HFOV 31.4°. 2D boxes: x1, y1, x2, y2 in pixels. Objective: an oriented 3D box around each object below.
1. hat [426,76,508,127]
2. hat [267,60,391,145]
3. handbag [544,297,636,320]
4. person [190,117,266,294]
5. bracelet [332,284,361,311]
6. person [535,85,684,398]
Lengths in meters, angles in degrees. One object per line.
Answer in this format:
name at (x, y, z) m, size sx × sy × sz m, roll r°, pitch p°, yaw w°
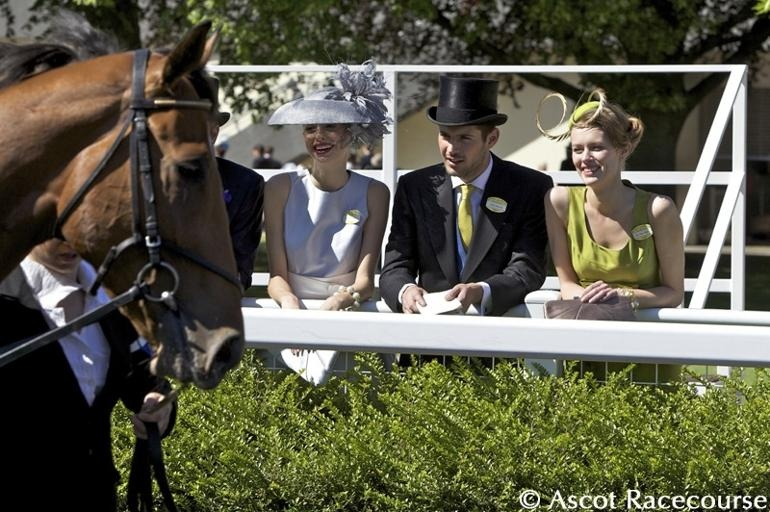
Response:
hat at (0.477, -0.954, 8.412) m, size 0.351 × 0.189 × 0.378 m, roll -2°, pitch 9°, yaw -23°
hat at (-0.311, -0.924, 8.294) m, size 0.607 × 0.375 × 0.577 m, roll -1°, pitch 5°, yaw -4°
handbag at (1.118, 0.291, 7.593) m, size 0.495 × 0.077 × 0.271 m, roll -1°, pitch 26°, yaw 5°
person at (-0.849, -0.325, 7.721) m, size 0.600 × 0.772 × 0.269 m, roll 6°, pitch 0°, yaw 16°
bracelet at (-0.240, 0.241, 8.034) m, size 0.146 × 0.052 × 0.127 m, roll -26°, pitch 58°, yaw -24°
person at (1.289, -0.304, 7.929) m, size 0.811 × 1.092 × 0.967 m, roll -18°, pitch 30°, yaw -24°
